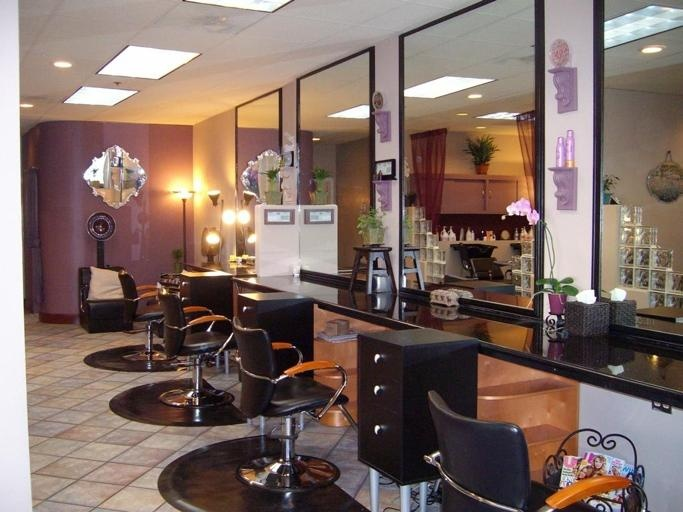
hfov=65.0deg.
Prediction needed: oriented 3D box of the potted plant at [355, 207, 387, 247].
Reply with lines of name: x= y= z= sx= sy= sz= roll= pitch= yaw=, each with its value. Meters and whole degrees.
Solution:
potted plant: x=0.218 y=-0.253 z=4.825 sx=0.314 sy=0.403 sz=0.368 roll=0 pitch=1 yaw=-20

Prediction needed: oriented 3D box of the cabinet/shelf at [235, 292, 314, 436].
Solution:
cabinet/shelf: x=-0.460 y=0.743 z=3.849 sx=0.423 sy=0.947 sz=1.161 roll=0 pitch=0 yaw=-14

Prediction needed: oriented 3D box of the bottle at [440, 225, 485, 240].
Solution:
bottle: x=0.876 y=-0.170 z=4.029 sx=0.086 sy=0.103 sz=0.287 roll=0 pitch=-1 yaw=-16

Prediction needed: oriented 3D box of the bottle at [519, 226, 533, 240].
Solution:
bottle: x=1.239 y=-0.148 z=3.595 sx=0.034 sy=0.109 sz=0.120 roll=6 pitch=2 yaw=-18

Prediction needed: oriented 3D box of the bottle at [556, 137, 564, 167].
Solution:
bottle: x=1.331 y=-0.633 z=3.257 sx=0.051 sy=0.183 sz=0.093 roll=1 pitch=7 yaw=22

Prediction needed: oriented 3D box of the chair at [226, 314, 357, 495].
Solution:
chair: x=-0.425 y=0.936 z=4.100 sx=1.025 sy=1.513 sz=1.096 roll=-1 pitch=4 yaw=-28

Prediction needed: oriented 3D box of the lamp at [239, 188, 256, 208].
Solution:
lamp: x=-1.269 y=-0.792 z=7.288 sx=0.241 sy=0.193 sz=0.233 roll=1 pitch=3 yaw=-28

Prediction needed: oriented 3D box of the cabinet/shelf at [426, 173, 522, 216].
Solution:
cabinet/shelf: x=0.988 y=-0.455 z=3.882 sx=0.162 sy=0.292 sz=0.757 roll=-4 pitch=6 yaw=-25

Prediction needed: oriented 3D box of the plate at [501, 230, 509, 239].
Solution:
plate: x=1.126 y=-0.155 z=3.690 sx=0.063 sy=0.069 sz=0.037 roll=2 pitch=-2 yaw=0

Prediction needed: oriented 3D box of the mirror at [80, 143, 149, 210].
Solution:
mirror: x=-3.815 y=-1.344 z=8.890 sx=1.159 sy=1.109 sz=0.142 roll=3 pitch=2 yaw=1

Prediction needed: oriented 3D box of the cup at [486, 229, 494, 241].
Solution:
cup: x=1.031 y=-0.144 z=3.725 sx=0.050 sy=0.076 sz=0.029 roll=0 pitch=6 yaw=14

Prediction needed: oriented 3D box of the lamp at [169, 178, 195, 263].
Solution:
lamp: x=-2.696 y=-0.530 z=9.275 sx=0.391 sy=1.299 sz=0.480 roll=-4 pitch=7 yaw=-24

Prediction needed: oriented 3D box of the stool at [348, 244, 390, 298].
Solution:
stool: x=0.212 y=0.102 z=4.707 sx=0.416 sy=0.433 sz=0.404 roll=0 pitch=1 yaw=-35

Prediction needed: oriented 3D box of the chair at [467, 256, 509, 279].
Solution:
chair: x=1.046 y=0.075 z=3.821 sx=0.171 sy=0.106 sz=0.167 roll=0 pitch=6 yaw=-10

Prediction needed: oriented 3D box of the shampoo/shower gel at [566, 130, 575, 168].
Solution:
shampoo/shower gel: x=1.387 y=-0.651 z=3.245 sx=0.052 sy=0.231 sz=0.115 roll=2 pitch=7 yaw=23

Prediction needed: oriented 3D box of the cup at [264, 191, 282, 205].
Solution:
cup: x=-0.783 y=-0.666 z=6.234 sx=0.180 sy=0.108 sz=0.163 roll=-1 pitch=1 yaw=-10

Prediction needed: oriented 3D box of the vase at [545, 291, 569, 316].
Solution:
vase: x=1.286 y=0.286 z=3.246 sx=0.135 sy=0.121 sz=0.124 roll=2 pitch=-6 yaw=-6

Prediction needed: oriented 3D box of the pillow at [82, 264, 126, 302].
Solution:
pillow: x=-3.572 y=0.429 z=8.057 sx=0.489 sy=0.414 sz=0.231 roll=5 pitch=-29 yaw=-17
